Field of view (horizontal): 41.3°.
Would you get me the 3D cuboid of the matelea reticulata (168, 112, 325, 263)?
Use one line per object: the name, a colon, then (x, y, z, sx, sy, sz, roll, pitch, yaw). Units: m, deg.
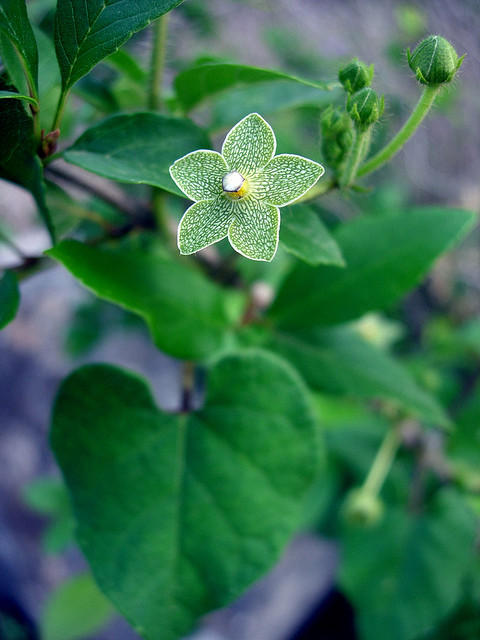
matelea reticulata: (-0.001, -0.094, 0.461, 0.103, 0.056, 0.099, 17, 68, 3)
